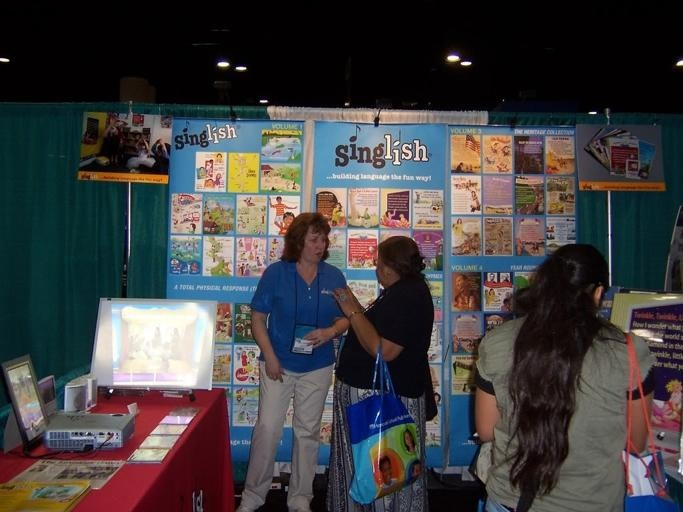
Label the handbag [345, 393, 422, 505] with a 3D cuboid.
[{"bbox_3d":[0.252,1.038,3.162,0.432,0.580,0.132,-1,4,-13],"label":"handbag"}]

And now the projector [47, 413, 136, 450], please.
[{"bbox_3d":[-1.323,0.921,3.037,0.433,0.160,0.178,0,3,0],"label":"projector"}]

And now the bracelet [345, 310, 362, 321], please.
[{"bbox_3d":[0.070,0.341,3.377,0.113,0.046,0.117,1,3,8],"label":"bracelet"}]

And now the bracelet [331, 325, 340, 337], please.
[{"bbox_3d":[-0.041,0.501,3.843,0.055,0.057,0.057,2,-16,0],"label":"bracelet"}]
